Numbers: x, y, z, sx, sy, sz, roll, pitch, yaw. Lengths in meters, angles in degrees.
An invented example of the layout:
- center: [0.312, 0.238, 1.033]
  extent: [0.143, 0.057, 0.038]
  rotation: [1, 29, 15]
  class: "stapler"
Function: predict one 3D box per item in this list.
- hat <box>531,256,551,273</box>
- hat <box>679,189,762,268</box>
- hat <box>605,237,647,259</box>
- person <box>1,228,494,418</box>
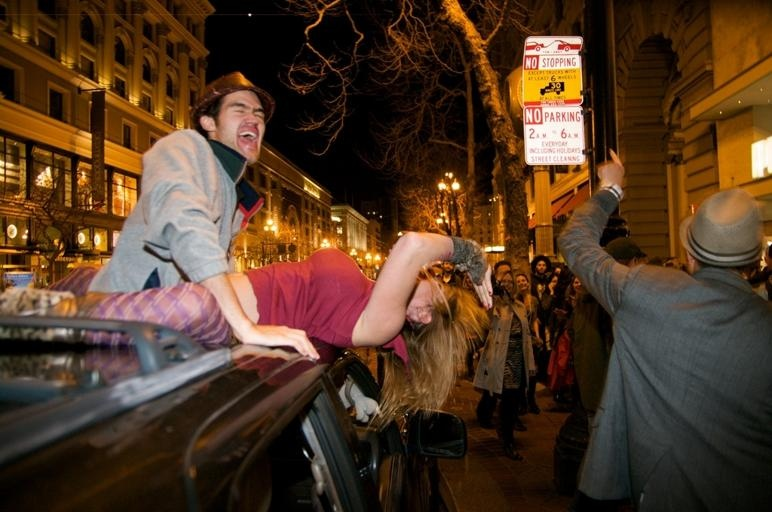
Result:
- center: [3.326, 0.210, 11.018]
  extent: [0.315, 0.399, 0.383]
  rotation: [2, -8, 3]
  class: "hat"
- center: [1.970, -0.146, 2.989]
  extent: [0.357, 0.482, 0.205]
  rotation: [2, -30, 21]
  class: "hat"
- center: [2.383, -0.063, 5.127]
  extent: [0.316, 0.171, 0.221]
  rotation: [-4, 5, -43]
  class: "hat"
- center: [-0.747, 0.459, 3.307]
  extent: [2.925, 1.271, 1.383]
  rotation: [-1, 4, -4]
  class: "person"
